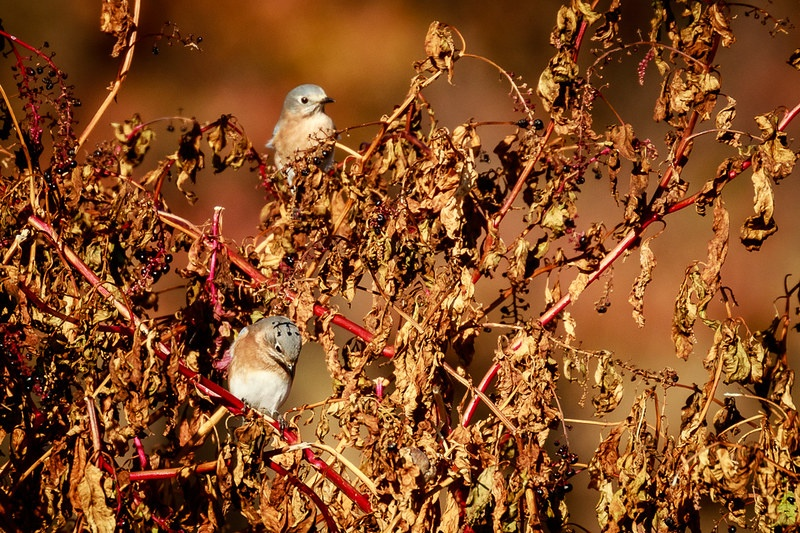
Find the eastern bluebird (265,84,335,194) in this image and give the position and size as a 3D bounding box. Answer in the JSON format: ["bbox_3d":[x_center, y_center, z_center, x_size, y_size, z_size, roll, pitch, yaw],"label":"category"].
[{"bbox_3d":[-0.404,-0.452,5.025,0.268,0.456,0.316,12,-14,-41],"label":"eastern bluebird"}]
